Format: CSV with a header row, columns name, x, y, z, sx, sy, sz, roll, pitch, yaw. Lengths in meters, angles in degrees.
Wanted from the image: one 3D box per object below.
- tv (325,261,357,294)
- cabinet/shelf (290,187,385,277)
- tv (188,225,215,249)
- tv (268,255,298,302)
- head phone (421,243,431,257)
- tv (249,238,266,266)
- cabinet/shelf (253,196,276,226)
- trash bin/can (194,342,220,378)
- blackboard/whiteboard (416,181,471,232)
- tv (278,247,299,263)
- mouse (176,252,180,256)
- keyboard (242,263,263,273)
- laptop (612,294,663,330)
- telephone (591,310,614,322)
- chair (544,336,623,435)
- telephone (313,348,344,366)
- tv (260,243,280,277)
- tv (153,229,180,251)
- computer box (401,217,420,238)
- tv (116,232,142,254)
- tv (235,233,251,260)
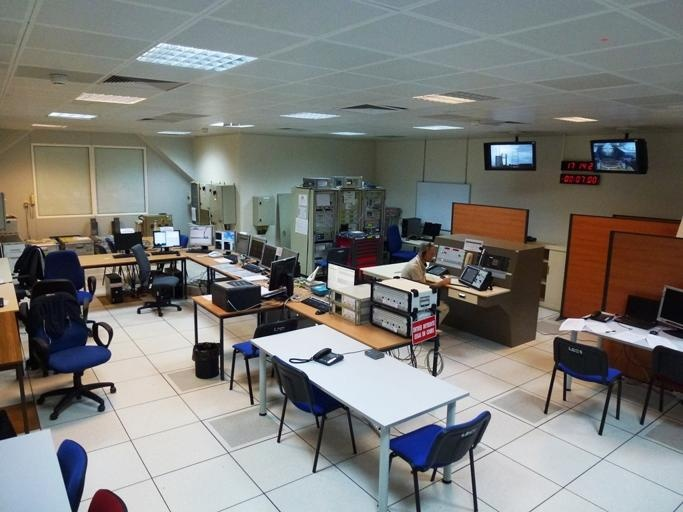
name,x,y,z,sx,sy,sz,roll,pitch,yaw
tv,-0.006,0.284,5.880,0.043,0.290,0.418,-3,10,-34
cabinet/shelf,-0.140,-0.496,9.386,1.830,1.689,0.938,-3,15,-22
tv,-2.716,-0.364,8.971,0.481,0.461,0.178,1,5,-8
tv,-0.790,0.327,6.336,0.180,0.543,0.561,16,18,40
head phone,1.184,-0.088,6.472,0.120,0.154,0.159,16,-10,28
tv,-1.389,-0.073,7.660,0.157,0.418,0.428,9,-1,-43
cabinet/shelf,-1.788,-1.048,10.607,0.676,0.782,0.268,-4,8,-41
trash bin/can,-1.643,1.300,5.886,0.417,0.382,0.403,0,5,-2
blackboard/whiteboard,2.287,-1.106,10.216,0.049,0.996,1.421,-4,7,-34
tv,-0.798,-0.017,6.881,0.416,0.202,0.292,5,4,13
mouse,-3.054,-0.032,8.684,0.093,0.033,0.095,15,18,37
keyboard,-1.432,0.191,7.582,0.213,0.054,0.227,-4,13,-40
laptop,3.665,0.724,5.709,0.337,0.374,0.449,-7,24,-44
telephone,3.313,0.772,5.853,0.170,0.067,0.185,-16,20,-30
chair,2.790,1.530,5.300,0.589,1.000,0.634,-29,32,-34
telephone,-0.112,0.984,4.547,0.307,0.106,0.206,-9,12,-36
tv,-1.087,0.080,7.010,0.269,0.494,0.502,0,5,-33
tv,-3.387,-0.303,8.972,0.448,0.380,0.117,0,2,-26
computer box,1.658,-0.708,11.117,0.466,0.472,0.828,-6,8,-12
tv,-3.883,-0.227,8.434,0.406,0.341,0.101,-4,7,-37
tv,-1.722,-0.164,8.123,0.069,0.337,0.470,-1,5,-28
